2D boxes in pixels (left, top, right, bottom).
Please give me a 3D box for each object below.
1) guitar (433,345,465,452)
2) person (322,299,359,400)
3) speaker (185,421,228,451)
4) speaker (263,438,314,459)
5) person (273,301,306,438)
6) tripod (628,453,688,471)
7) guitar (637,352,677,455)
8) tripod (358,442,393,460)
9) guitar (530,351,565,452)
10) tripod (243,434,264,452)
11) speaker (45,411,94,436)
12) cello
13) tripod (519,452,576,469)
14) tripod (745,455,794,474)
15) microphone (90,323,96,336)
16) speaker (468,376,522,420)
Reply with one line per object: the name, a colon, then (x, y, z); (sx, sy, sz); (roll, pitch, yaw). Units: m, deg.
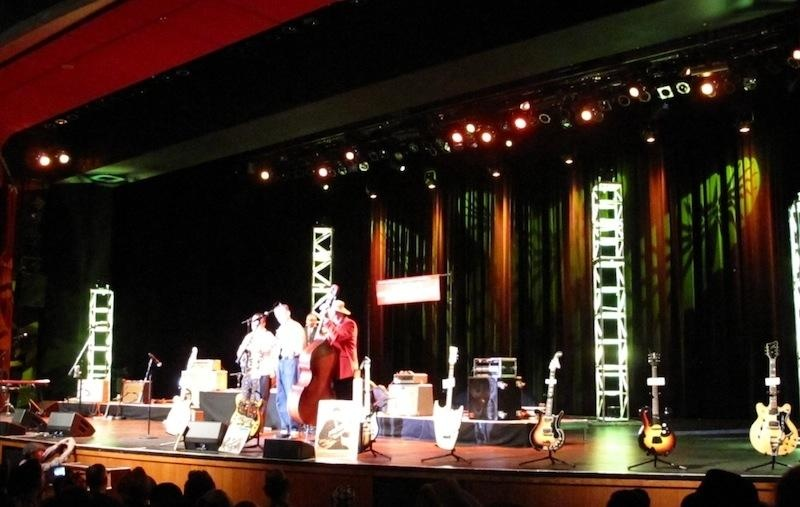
guitar: (0.725, 2.267, 10.796); (0.418, 1.542, 0.063); (3, 11, 10)
person: (-0.953, 1.770, 11.582); (0.621, 1.976, 0.742); (3, -2, 0)
speaker: (-2.951, 2.754, 10.719); (0.506, 0.341, 0.485); (0, 3, 8)
speaker: (-1.614, 2.802, 10.175); (0.477, 0.181, 0.348); (-11, -18, 35)
person: (-1.891, 1.944, 11.628); (0.705, 1.951, 0.651); (-2, -5, 26)
tripod: (3.596, 2.933, 10.056); (0.796, 0.196, 0.980); (-3, -14, 13)
guitar: (3.711, 2.186, 10.308); (0.522, 1.415, 0.165); (-7, -20, 33)
tripod: (-0.381, 2.961, 10.608); (0.321, 0.198, 0.280); (2, -5, 40)
guitar: (2.195, 2.182, 10.538); (0.513, 1.481, 0.140); (4, 4, -14)
tripod: (-2.264, 2.934, 10.977); (0.262, 0.337, 0.335); (8, -12, 11)
speaker: (-5.590, 2.829, 12.035); (0.590, 0.377, 0.488); (-2, 5, 20)
cello: (-1.346, 1.585, 11.338); (0.677, 2.214, 0.514); (8, -15, -29)
tripod: (2.128, 2.937, 10.258); (0.785, 0.236, 0.612); (-3, -14, 13)
tripod: (5.141, 2.960, 9.970); (0.387, 0.163, 0.385); (0, -14, 3)
microphone: (-7.377, 1.824, 17.096); (0.153, 0.246, 0.042); (12, -17, -38)
speaker: (1.627, 2.483, 12.259); (0.935, 0.720, 0.363); (-2, -14, 13)
